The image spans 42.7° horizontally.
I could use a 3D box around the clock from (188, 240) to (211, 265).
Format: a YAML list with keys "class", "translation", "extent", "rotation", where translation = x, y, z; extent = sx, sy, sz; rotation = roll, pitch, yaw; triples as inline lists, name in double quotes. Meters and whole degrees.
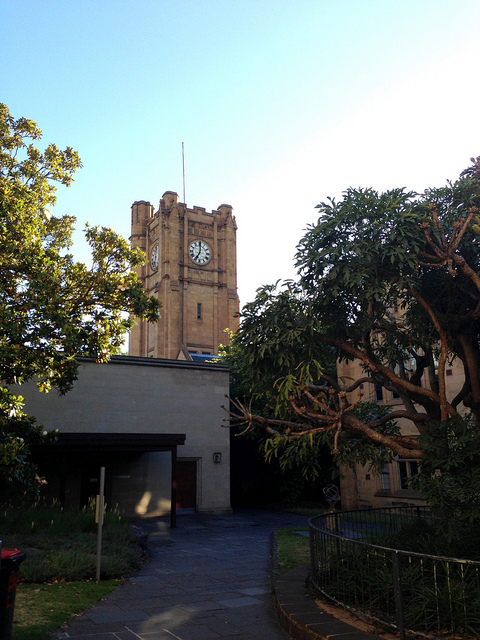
- class: "clock"
  translation: [-3.767, -6.120, 56.036]
  extent: [0.330, 2.103, 2.274]
  rotation: [-11, 3, 45]
